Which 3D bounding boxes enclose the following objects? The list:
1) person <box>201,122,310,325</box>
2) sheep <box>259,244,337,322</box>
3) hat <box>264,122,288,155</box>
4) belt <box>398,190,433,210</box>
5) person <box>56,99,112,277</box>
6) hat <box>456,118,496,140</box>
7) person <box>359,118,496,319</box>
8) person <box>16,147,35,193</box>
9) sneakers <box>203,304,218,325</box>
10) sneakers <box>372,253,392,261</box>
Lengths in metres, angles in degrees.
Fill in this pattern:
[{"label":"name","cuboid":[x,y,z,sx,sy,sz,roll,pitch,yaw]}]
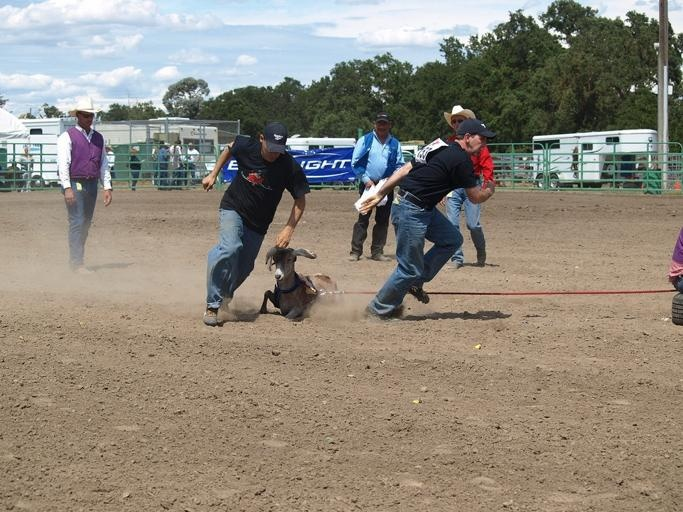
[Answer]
[{"label":"person","cuboid":[-0.948,-0.359,9.729,1.115,2.140,0.846,-1,9,-7]},{"label":"sheep","cuboid":[-0.383,0.340,10.066,0.492,0.789,1.198,1,-4,31]},{"label":"hat","cuboid":[-0.682,-1.248,9.336,0.225,0.178,0.348,1,47,-18]},{"label":"belt","cuboid":[0.776,-0.583,9.399,0.373,0.211,0.199,1,9,4]},{"label":"person","cuboid":[-3.511,-0.936,12.246,0.528,2.264,0.897,4,10,22]},{"label":"hat","cuboid":[1.400,-1.329,9.377,0.327,0.160,0.206,-1,10,2]},{"label":"person","cuboid":[0.911,-0.341,9.553,1.289,2.208,0.629,2,9,8]},{"label":"person","cuboid":[-10.506,-2.930,30.004,0.456,1.487,1.360,-3,9,-19]},{"label":"sneakers","cuboid":[-1.383,0.647,9.533,0.162,0.209,0.159,-1,9,-9]},{"label":"sneakers","cuboid":[0.597,0.035,13.756,0.345,0.147,0.112,-9,-7,40]}]
